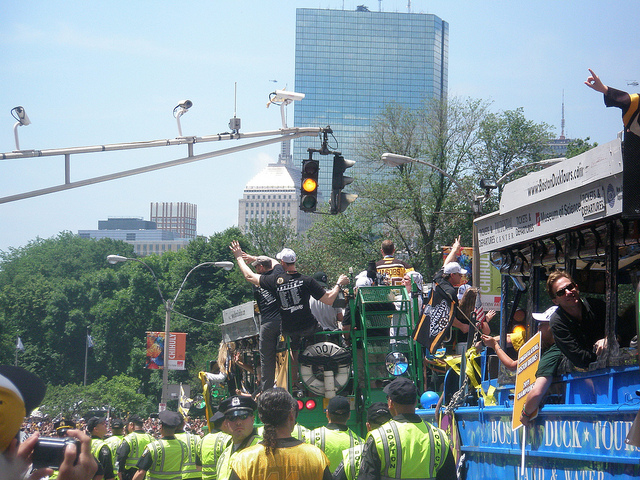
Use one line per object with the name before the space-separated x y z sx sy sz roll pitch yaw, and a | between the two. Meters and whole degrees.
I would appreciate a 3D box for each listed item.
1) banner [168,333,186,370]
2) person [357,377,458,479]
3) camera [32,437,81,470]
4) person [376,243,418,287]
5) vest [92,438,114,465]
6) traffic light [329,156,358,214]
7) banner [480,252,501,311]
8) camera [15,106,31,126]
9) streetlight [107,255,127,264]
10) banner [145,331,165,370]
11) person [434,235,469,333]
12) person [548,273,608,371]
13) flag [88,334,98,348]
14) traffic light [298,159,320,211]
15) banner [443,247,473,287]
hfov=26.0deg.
banner | -5.723 4.454 55.926 0.607 1.601 2.345 -1 -12 -6
person | 1.468 3.286 24.012 1.509 1.645 0.391 -2 -11 2
camera | -4.132 3.346 21.914 0.733 0.495 0.185 1 -11 -13
person | 2.126 0.718 37.950 0.859 2.008 0.582 -7 11 5
vest | -4.413 4.296 28.399 0.427 0.560 0.624 0 -12 -10
traffic light | 0.509 -1.147 32.197 0.489 1.442 0.454 -1 -4 -7
banner | 4.390 1.210 35.812 0.514 1.420 1.566 -3 -11 6
camera | -6.674 -2.655 31.279 0.275 0.419 0.353 1 -12 -15
streetlight | -7.031 0.747 48.128 0.422 0.224 0.595 -4 -5 35
banner | -6.876 4.644 58.445 0.677 1.701 2.652 0 -12 -8
person | 2.850 1.011 29.405 0.782 2.544 0.644 0 -29 -7
person | 4.551 1.474 24.495 0.966 1.688 0.531 -4 -11 9
flag | -13.009 5.865 79.782 0.104 0.579 1.264 20 -4 -19
traffic light | -0.238 -1.192 31.802 0.424 1.199 0.752 -1 -11 -2
banner | 3.305 0.696 33.286 1.072 1.130 0.113 2 -9 -17
